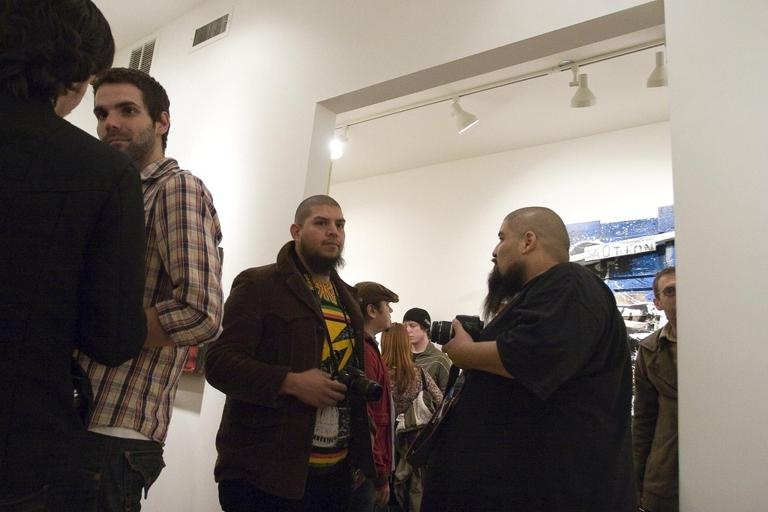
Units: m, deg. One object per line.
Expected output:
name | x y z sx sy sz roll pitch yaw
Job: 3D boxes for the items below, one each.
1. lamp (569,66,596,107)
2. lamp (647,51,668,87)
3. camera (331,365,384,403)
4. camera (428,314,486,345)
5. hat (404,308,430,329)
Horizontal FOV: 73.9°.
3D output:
lamp | 1.515 -1.294 3.916 0.199 0.301 0.184 1 24 18
lamp | 1.922 -1.285 3.570 0.212 0.225 0.209 2 21 23
camera | -0.124 0.615 2.355 0.180 0.079 0.176 16 -6 39
camera | 0.360 0.338 2.496 0.188 0.105 0.170 1 2 15
hat | 0.347 0.661 5.327 0.228 0.170 0.223 18 -12 5
